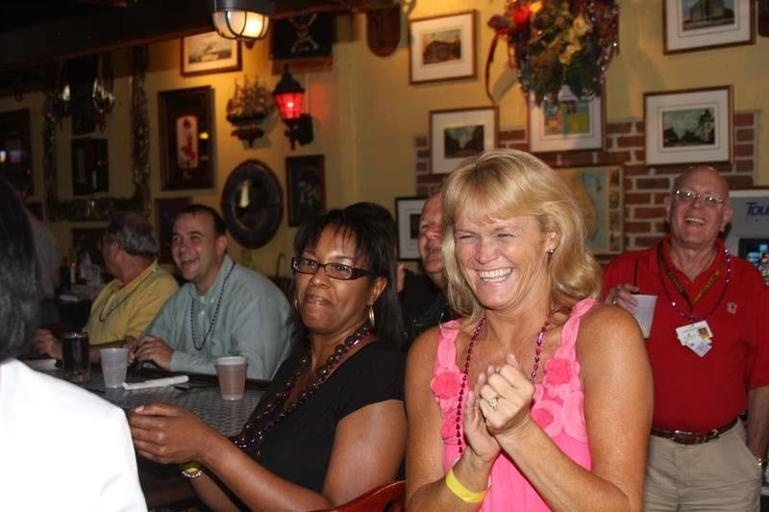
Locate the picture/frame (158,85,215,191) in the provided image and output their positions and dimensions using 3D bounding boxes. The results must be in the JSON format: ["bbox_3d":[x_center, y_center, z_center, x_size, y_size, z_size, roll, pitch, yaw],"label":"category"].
[{"bbox_3d":[-1.981,-1.172,6.000,0.804,0.722,0.148,-2,2,38],"label":"picture/frame"}]

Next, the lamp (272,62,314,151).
[{"bbox_3d":[-0.794,-1.282,5.140,0.273,0.678,0.239,-1,2,28],"label":"lamp"}]

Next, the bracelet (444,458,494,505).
[{"bbox_3d":[0.261,0.702,1.869,0.117,0.045,0.107,47,-11,-22],"label":"bracelet"}]

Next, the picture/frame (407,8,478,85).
[{"bbox_3d":[0.465,-1.629,4.645,0.615,0.566,0.044,0,0,30],"label":"picture/frame"}]

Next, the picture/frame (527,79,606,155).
[{"bbox_3d":[1.262,-0.952,4.221,0.514,0.440,0.120,-2,2,19],"label":"picture/frame"}]

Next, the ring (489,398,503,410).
[{"bbox_3d":[0.306,0.417,1.699,0.035,0.031,0.012,-2,1,25],"label":"ring"}]

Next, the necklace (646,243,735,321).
[{"bbox_3d":[1.627,0.165,3.320,0.274,0.462,0.108,-3,-11,14],"label":"necklace"}]

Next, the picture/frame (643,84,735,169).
[{"bbox_3d":[2.021,-0.858,3.952,0.644,0.597,0.073,-1,-4,22],"label":"picture/frame"}]

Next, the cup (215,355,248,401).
[{"bbox_3d":[-0.711,0.568,2.875,0.170,0.194,0.175,-1,3,0],"label":"cup"}]
